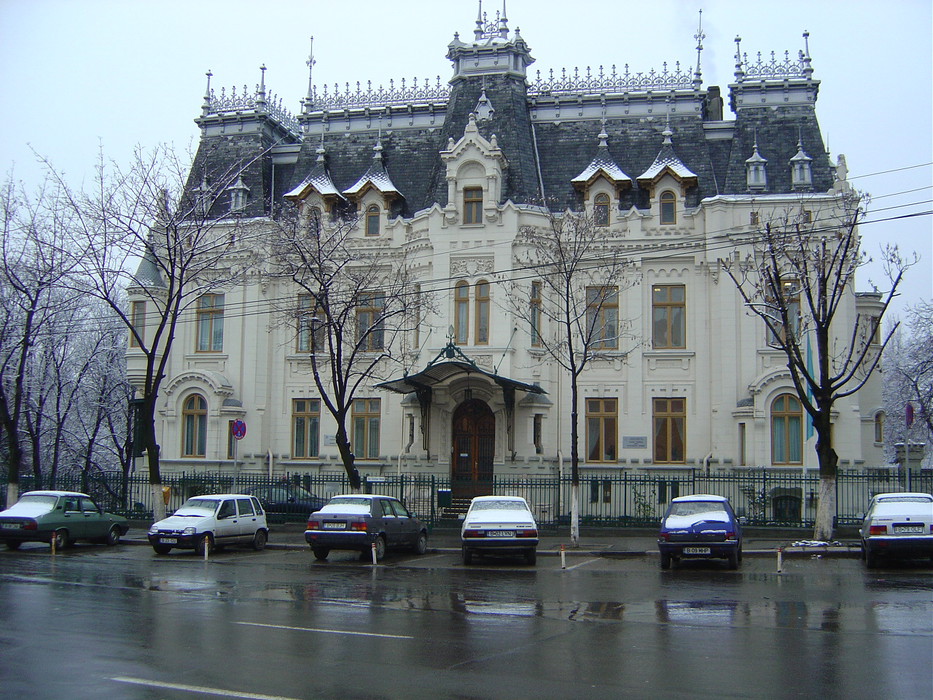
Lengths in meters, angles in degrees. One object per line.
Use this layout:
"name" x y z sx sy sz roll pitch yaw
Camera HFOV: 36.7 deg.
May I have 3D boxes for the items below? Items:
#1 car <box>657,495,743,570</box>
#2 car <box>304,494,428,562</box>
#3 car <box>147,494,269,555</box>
"car" 6.620 5.259 40.044 2.212 1.893 1.258 -2 -8 6
"car" -3.010 5.394 42.839 1.868 1.952 3.648 -7 -10 39
"car" -8.198 5.503 44.680 1.688 1.859 3.646 -7 -10 36
